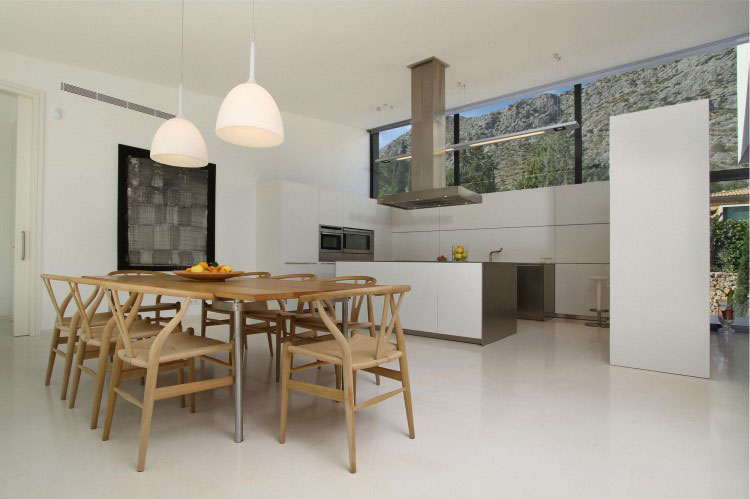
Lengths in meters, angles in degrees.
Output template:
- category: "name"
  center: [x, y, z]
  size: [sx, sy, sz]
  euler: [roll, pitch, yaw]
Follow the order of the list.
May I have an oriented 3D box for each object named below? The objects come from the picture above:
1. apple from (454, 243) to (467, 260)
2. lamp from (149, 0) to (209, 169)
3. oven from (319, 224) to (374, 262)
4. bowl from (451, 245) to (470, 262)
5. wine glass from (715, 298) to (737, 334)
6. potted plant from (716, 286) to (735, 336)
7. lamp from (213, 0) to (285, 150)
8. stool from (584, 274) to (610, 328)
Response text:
- category: "apple"
  center: [1.225, 0.051, 7.378]
  size: [0.158, 0.202, 0.351]
  euler: [-2, 1, 5]
- category: "lamp"
  center: [-2.252, -1.854, 5.846]
  size: [0.512, 1.979, 1.769]
  euler: [-3, 2, -19]
- category: "oven"
  center: [-0.368, -0.062, 9.010]
  size: [1.268, 0.626, 0.411]
  euler: [4, 9, 38]
- category: "bowl"
  center: [1.310, 0.057, 7.796]
  size: [0.277, 0.307, 0.292]
  euler: [3, -8, 0]
- category: "wine glass"
  center: [4.777, 0.888, 6.976]
  size: [0.196, 0.434, 0.235]
  euler: [-1, 2, 33]
- category: "potted plant"
  center: [4.799, 0.858, 7.027]
  size: [0.263, 0.537, 0.251]
  euler: [-1, -5, 9]
- category: "lamp"
  center: [-1.143, -1.439, 4.625]
  size: [0.577, 0.927, 0.407]
  euler: [-2, 2, -15]
- category: "stool"
  center: [3.266, 0.749, 7.563]
  size: [0.319, 0.744, 0.746]
  euler: [-1, 1, 25]
